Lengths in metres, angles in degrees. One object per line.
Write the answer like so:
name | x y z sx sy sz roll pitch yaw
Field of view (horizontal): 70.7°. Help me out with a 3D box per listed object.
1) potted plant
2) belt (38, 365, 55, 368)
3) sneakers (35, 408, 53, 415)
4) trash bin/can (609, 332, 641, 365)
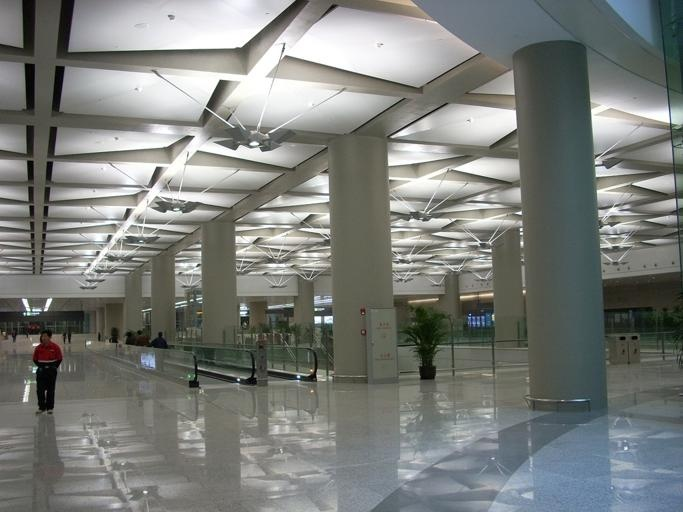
potted plant | 3.274 3.384 18.840 1.529 2.799 1.934 -3 -10 6
belt | -7.649 2.907 12.559 0.187 0.052 0.172 1 -8 -9
sneakers | -7.621 4.016 12.397 0.259 0.112 0.358 -13 -7 -2
trash bin/can | 13.590 4.555 23.245 1.663 1.307 0.744 3 -14 -22
